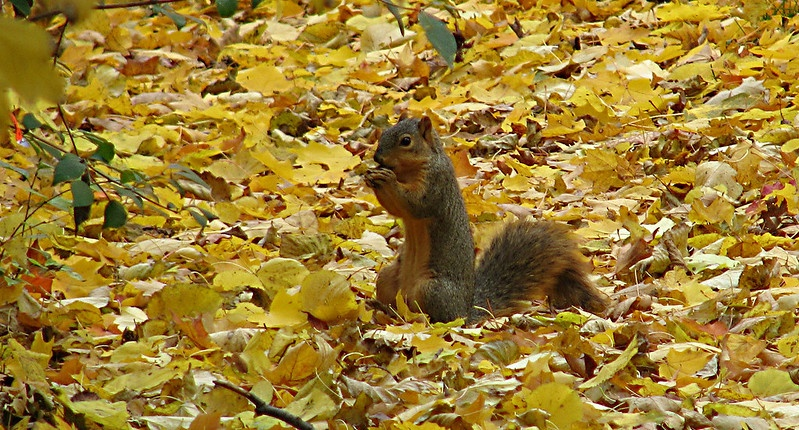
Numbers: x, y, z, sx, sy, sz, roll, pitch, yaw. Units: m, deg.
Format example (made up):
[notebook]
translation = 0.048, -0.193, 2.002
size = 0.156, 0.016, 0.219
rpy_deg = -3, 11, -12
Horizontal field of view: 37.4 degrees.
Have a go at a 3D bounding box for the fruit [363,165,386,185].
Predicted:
[fruit]
translation = -0.164, -0.257, 7.626
size = 0.131, 0.109, 0.167
rpy_deg = 3, 44, -6
